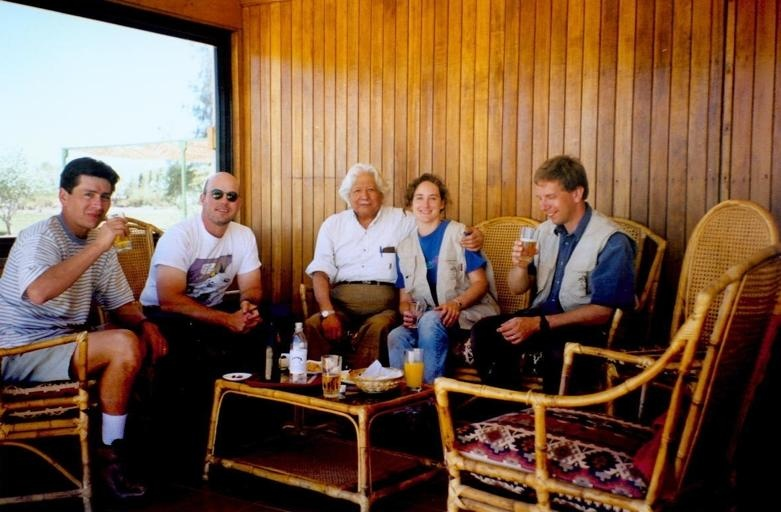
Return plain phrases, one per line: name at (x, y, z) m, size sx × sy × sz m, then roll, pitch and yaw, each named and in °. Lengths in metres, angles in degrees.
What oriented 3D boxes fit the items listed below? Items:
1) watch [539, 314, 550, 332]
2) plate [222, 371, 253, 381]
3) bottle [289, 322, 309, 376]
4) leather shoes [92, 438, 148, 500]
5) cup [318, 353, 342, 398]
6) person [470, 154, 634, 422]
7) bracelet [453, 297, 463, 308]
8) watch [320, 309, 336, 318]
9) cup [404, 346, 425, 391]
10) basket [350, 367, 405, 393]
watch at (0.795, 0.352, 3.122) m, size 0.048 × 0.085 × 0.030 m, roll 0°, pitch 10°, yaw 8°
plate at (-0.758, 0.607, 3.033) m, size 0.141 × 0.016 × 0.124 m, roll -2°, pitch 10°, yaw -8°
bottle at (-0.470, 0.465, 3.095) m, size 0.092 × 0.289 × 0.205 m, roll -3°, pitch 10°, yaw -10°
leather shoes at (-1.286, 1.038, 2.917) m, size 0.343 × 0.152 × 0.114 m, roll 34°, pitch 7°, yaw 17°
cup at (-0.273, 0.555, 2.872) m, size 0.091 × 0.185 × 0.144 m, roll -3°, pitch 10°, yaw -8°
person at (0.876, 0.078, 3.191) m, size 0.741 × 1.183 × 0.710 m, roll 4°, pitch 11°, yaw 28°
bracelet at (0.393, 0.269, 3.512) m, size 0.014 × 0.046 × 0.049 m, roll -27°, pitch -13°, yaw -4°
watch at (-0.385, 0.355, 3.761) m, size 0.072 × 0.045 × 0.065 m, roll -8°, pitch -18°, yaw 6°
cup at (0.136, 0.557, 2.989) m, size 0.122 × 0.189 × 0.120 m, roll 0°, pitch -8°, yaw 0°
basket at (-0.069, 0.596, 2.951) m, size 0.253 × 0.089 × 0.193 m, roll 1°, pitch 10°, yaw 13°
